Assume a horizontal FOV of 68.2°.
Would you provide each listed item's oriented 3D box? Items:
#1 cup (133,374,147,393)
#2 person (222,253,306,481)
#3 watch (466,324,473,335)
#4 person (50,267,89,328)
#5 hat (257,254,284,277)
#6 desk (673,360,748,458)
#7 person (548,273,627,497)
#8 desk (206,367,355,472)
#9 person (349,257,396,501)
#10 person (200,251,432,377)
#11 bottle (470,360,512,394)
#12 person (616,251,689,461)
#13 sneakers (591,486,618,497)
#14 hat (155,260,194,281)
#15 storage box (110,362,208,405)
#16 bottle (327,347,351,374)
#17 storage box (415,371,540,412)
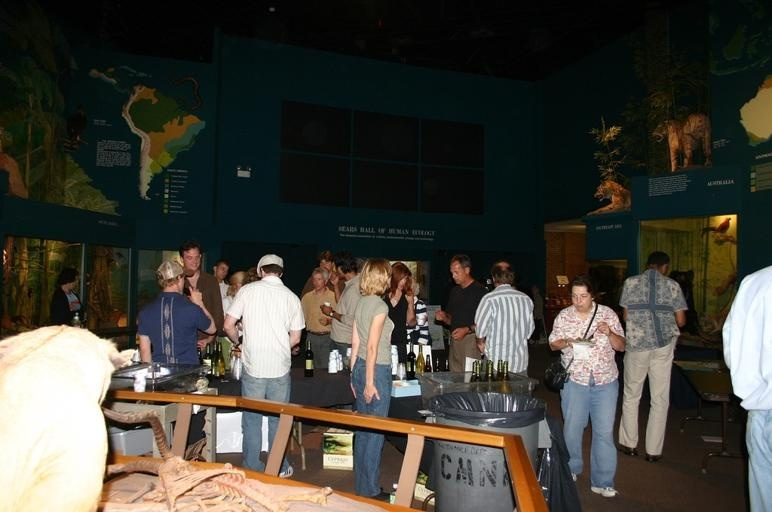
[{"bbox_3d":[-2.039,1.055,4.726,0.095,0.136,0.226,2,-4,-23],"label":"cup"},{"bbox_3d":[-1.217,1.099,5.646,0.761,2.214,0.428,2,-3,-12],"label":"person"},{"bbox_3d":[0.994,0.853,6.666,0.023,0.083,0.087,23,-25,-26],"label":"watch"},{"bbox_3d":[-4.321,0.526,7.718,0.410,0.764,1.114,3,-4,-28],"label":"person"},{"bbox_3d":[-1.152,0.076,5.785,0.253,0.271,0.314,2,5,-17],"label":"hat"},{"bbox_3d":[3.840,1.807,6.705,0.558,0.695,1.452,0,-2,12],"label":"desk"},{"bbox_3d":[2.009,1.298,5.685,0.704,2.163,0.325,1,-3,10],"label":"person"},{"bbox_3d":[-0.949,1.531,5.756,1.124,0.537,1.120,-3,-10,14],"label":"desk"},{"bbox_3d":[-0.133,1.157,5.438,0.398,2.244,0.465,1,-3,-3],"label":"person"},{"bbox_3d":[-0.840,0.668,6.347,1.703,1.241,0.404,0,11,-5],"label":"person"},{"bbox_3d":[1.006,1.119,5.332,0.281,0.267,0.276,1,-11,-4],"label":"bottle"},{"bbox_3d":[2.996,1.105,6.379,0.662,2.319,0.405,0,-3,15],"label":"person"},{"bbox_3d":[2.195,2.335,5.701,0.214,0.088,0.098,-5,-9,34],"label":"sneakers"},{"bbox_3d":[-2.050,0.131,5.505,0.168,0.130,0.229,1,12,16],"label":"hat"},{"bbox_3d":[-1.915,1.075,4.767,0.655,0.168,0.646,1,1,0],"label":"storage box"},{"bbox_3d":[-0.504,1.167,6.343,0.123,0.244,0.292,-5,-7,38],"label":"bottle"},{"bbox_3d":[0.808,1.165,5.155,0.712,0.244,0.473,-1,0,-8],"label":"storage box"}]
